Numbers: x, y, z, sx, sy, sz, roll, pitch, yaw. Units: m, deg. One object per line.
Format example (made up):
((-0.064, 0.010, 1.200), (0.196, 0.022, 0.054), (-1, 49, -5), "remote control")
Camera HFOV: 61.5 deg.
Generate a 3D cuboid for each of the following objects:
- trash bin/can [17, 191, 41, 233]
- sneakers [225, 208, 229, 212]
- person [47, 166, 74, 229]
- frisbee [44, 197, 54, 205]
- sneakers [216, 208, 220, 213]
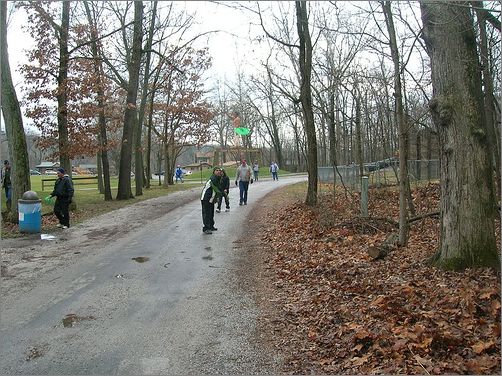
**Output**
((-7.072, 0.785, 13.450), (0.606, 1.255, 0.588), (-1, 10, -8), "trash bin/can")
((-0.941, 0.859, 16.701), (0.102, 0.116, 0.235), (0, -6, 6), "sneakers")
((-6.521, 0.274, 14.541), (0.720, 2.181, 1.547), (-4, 11, -26), "person")
((-9.773, 0.624, 20.396), (0.433, 0.171, 0.348), (17, 1, 14), "frisbee")
((-1.277, 0.872, 16.361), (0.107, 0.140, 0.316), (-2, 8, -17), "sneakers")
